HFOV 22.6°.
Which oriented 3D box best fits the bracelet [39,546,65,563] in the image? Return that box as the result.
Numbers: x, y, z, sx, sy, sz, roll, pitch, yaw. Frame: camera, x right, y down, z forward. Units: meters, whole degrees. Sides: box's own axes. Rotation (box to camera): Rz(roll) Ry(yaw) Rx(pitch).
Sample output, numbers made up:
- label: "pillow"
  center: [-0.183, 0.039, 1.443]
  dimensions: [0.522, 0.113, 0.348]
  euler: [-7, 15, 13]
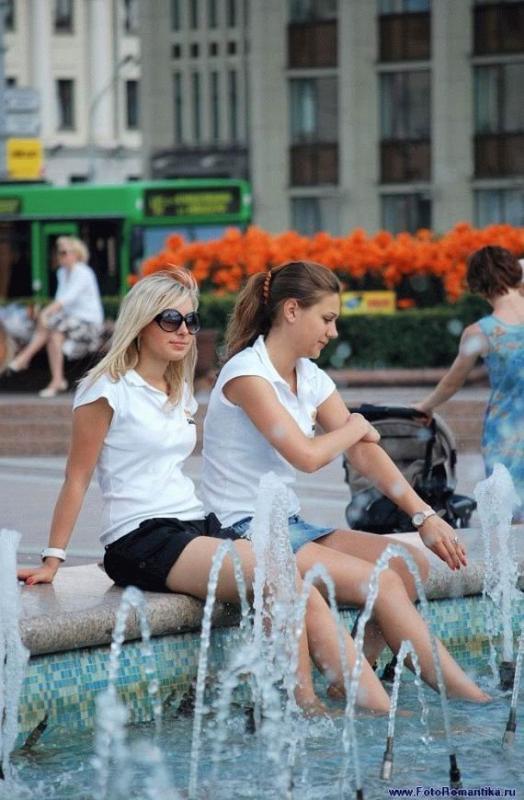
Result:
- label: "bracelet"
  center: [-0.598, 0.434, 3.721]
  dimensions: [0.048, 0.031, 0.054]
  euler: [2, 0, 32]

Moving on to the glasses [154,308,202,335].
- label: "glasses"
  center: [-0.239, -0.228, 3.775]
  dimensions: [0.082, 0.038, 0.084]
  euler: [-2, -3, 43]

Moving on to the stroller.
- label: "stroller"
  center: [0.543, 0.221, 5.186]
  dimensions: [0.434, 0.553, 0.565]
  euler: [6, 13, 12]
